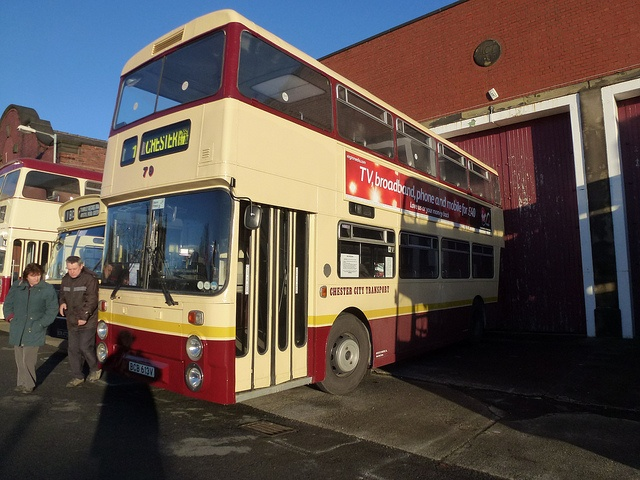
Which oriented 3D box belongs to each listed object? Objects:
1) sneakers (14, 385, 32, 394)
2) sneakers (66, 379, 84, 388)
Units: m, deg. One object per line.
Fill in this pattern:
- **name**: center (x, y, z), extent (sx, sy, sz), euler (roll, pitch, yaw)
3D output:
- **sneakers**: center (-5.354, 2.682, 8.354), extent (0.364, 0.182, 0.125), euler (-4, -8, 12)
- **sneakers**: center (-4.639, 2.704, 8.767), extent (0.134, 0.130, 0.295), euler (-2, -13, 19)
